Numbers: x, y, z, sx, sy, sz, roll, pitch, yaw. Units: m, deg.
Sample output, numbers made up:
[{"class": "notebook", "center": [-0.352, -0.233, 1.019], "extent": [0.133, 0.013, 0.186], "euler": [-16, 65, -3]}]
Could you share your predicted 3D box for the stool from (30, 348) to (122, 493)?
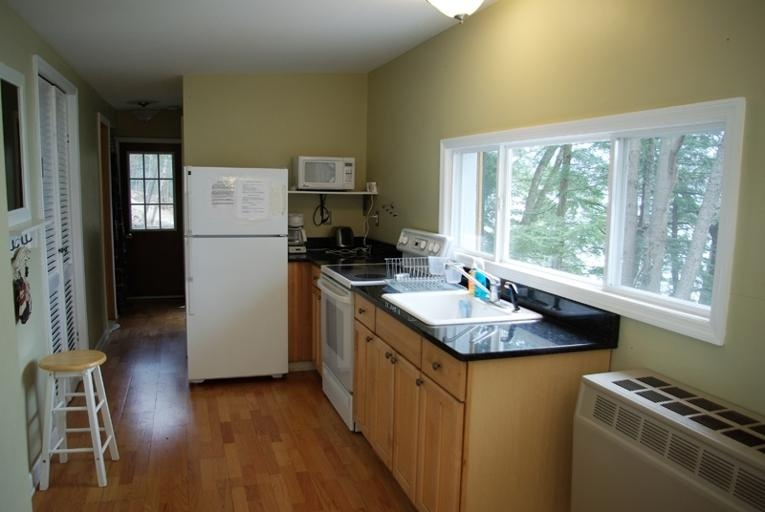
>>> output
[{"class": "stool", "center": [-2.056, 1.123, 3.573], "extent": [0.570, 0.994, 0.571], "euler": [-2, 18, -16]}]

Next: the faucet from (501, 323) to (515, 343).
[{"class": "faucet", "center": [0.676, 0.416, 2.888], "extent": [0.048, 0.099, 0.144], "euler": [-1, -14, 23]}]

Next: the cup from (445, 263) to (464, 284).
[{"class": "cup", "center": [0.456, 0.124, 3.496], "extent": [0.127, 0.122, 0.101], "euler": [0, 3, 0]}]

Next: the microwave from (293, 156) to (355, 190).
[{"class": "microwave", "center": [-0.543, -0.797, 5.188], "extent": [0.520, 0.330, 0.342], "euler": [-1, 4, -17]}]

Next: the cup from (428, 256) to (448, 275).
[{"class": "cup", "center": [0.378, 0.064, 3.616], "extent": [0.120, 0.137, 0.114], "euler": [1, 7, 0]}]

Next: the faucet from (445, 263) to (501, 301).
[{"class": "faucet", "center": [0.587, 0.165, 3.452], "extent": [0.147, 0.231, 0.534], "euler": [-1, 7, -32]}]

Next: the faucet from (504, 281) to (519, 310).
[{"class": "faucet", "center": [0.792, 0.231, 3.282], "extent": [0.093, 0.162, 0.281], "euler": [3, 13, 14]}]
